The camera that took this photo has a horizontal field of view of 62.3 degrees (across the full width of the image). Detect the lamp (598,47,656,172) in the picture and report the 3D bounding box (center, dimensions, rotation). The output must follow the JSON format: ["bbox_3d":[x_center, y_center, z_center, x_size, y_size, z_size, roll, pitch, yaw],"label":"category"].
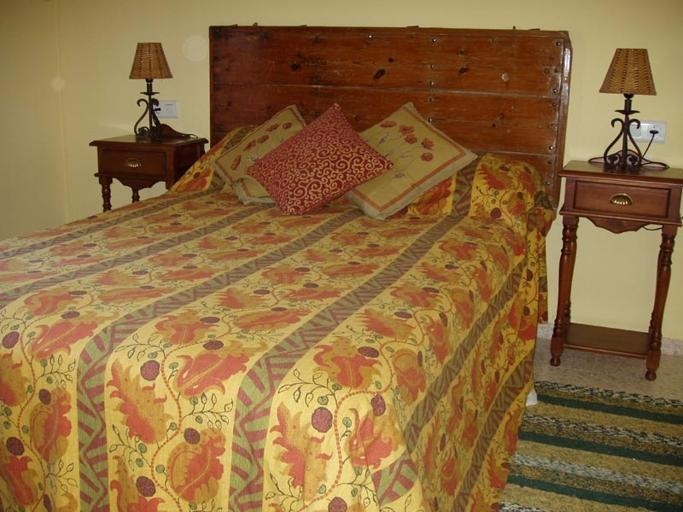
[{"bbox_3d":[1.485,-0.765,2.920,0.288,0.640,0.344,7,12,21],"label":"lamp"}]
